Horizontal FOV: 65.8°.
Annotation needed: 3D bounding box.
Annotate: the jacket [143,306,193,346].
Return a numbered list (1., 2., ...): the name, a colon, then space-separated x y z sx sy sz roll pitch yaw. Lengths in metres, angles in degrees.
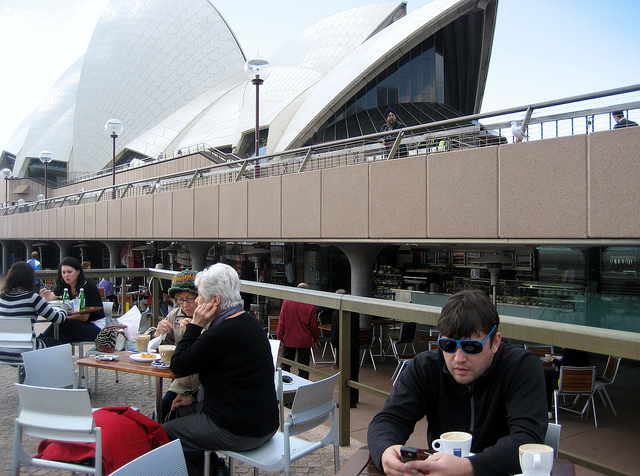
1. jacket: -1.675 1.000 5.664 0.277 0.398 0.589 0 -2 -16

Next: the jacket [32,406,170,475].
1. jacket: -1.819 1.685 4.202 0.992 0.458 0.426 -1 -2 13

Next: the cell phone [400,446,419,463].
1. cell phone: 0.557 1.366 3.112 0.063 0.028 0.130 6 -45 24

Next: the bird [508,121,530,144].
1. bird: 3.573 -1.891 8.791 0.471 0.399 0.176 13 -17 14

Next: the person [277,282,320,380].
1. person: -0.467 1.893 9.934 0.784 2.086 0.590 2 24 -3

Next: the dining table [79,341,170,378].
1. dining table: -1.830 1.221 5.208 1.086 0.264 0.743 -1 -3 25

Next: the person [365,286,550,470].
1. person: 0.996 0.962 3.567 0.928 1.339 1.282 -7 -10 30

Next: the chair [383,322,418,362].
1. chair: 1.957 2.520 12.024 0.743 0.965 0.797 0 -1 14

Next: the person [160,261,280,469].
1. person: -0.845 1.148 4.402 0.946 1.776 0.376 0 -1 -13

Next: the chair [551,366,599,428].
1. chair: 4.405 2.664 8.546 0.639 1.168 0.775 -1 6 25

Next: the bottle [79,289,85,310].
1. bottle: -3.576 0.920 7.464 0.069 0.278 0.229 1 -2 -26

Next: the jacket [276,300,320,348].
1. jacket: -0.450 1.691 9.759 0.748 0.897 0.447 0 -1 3

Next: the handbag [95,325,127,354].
1. handbag: -2.324 1.118 5.693 0.358 0.387 0.258 1 10 5

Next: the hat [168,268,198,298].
1. hat: -1.496 0.496 5.536 0.353 0.371 0.362 0 -3 0

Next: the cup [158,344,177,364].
1. cup: -1.507 1.136 4.939 0.202 0.191 0.210 4 -5 0

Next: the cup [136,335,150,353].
1. cup: -1.952 1.159 5.460 0.143 0.176 0.154 0 -7 0
